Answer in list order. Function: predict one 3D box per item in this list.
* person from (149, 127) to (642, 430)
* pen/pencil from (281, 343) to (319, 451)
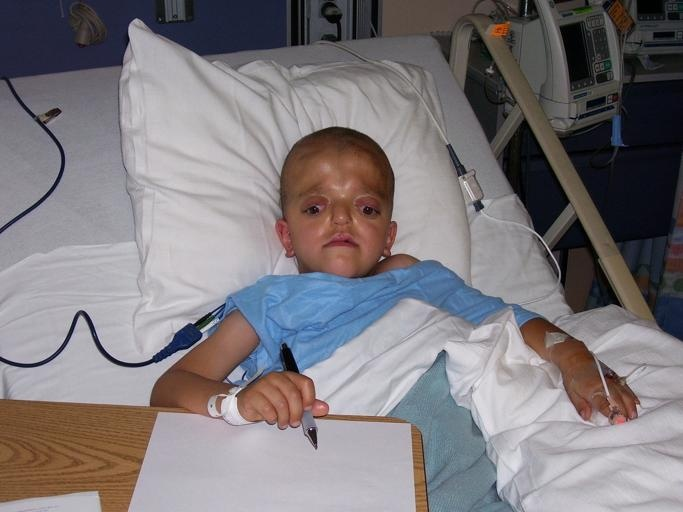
[{"bbox_3d":[0.042,0.076,1.164,0.599,0.342,0.818,-8,32,-19],"label":"person"},{"bbox_3d":[-0.072,0.243,0.954,0.019,0.019,0.176,-32,46,-2],"label":"pen/pencil"}]
